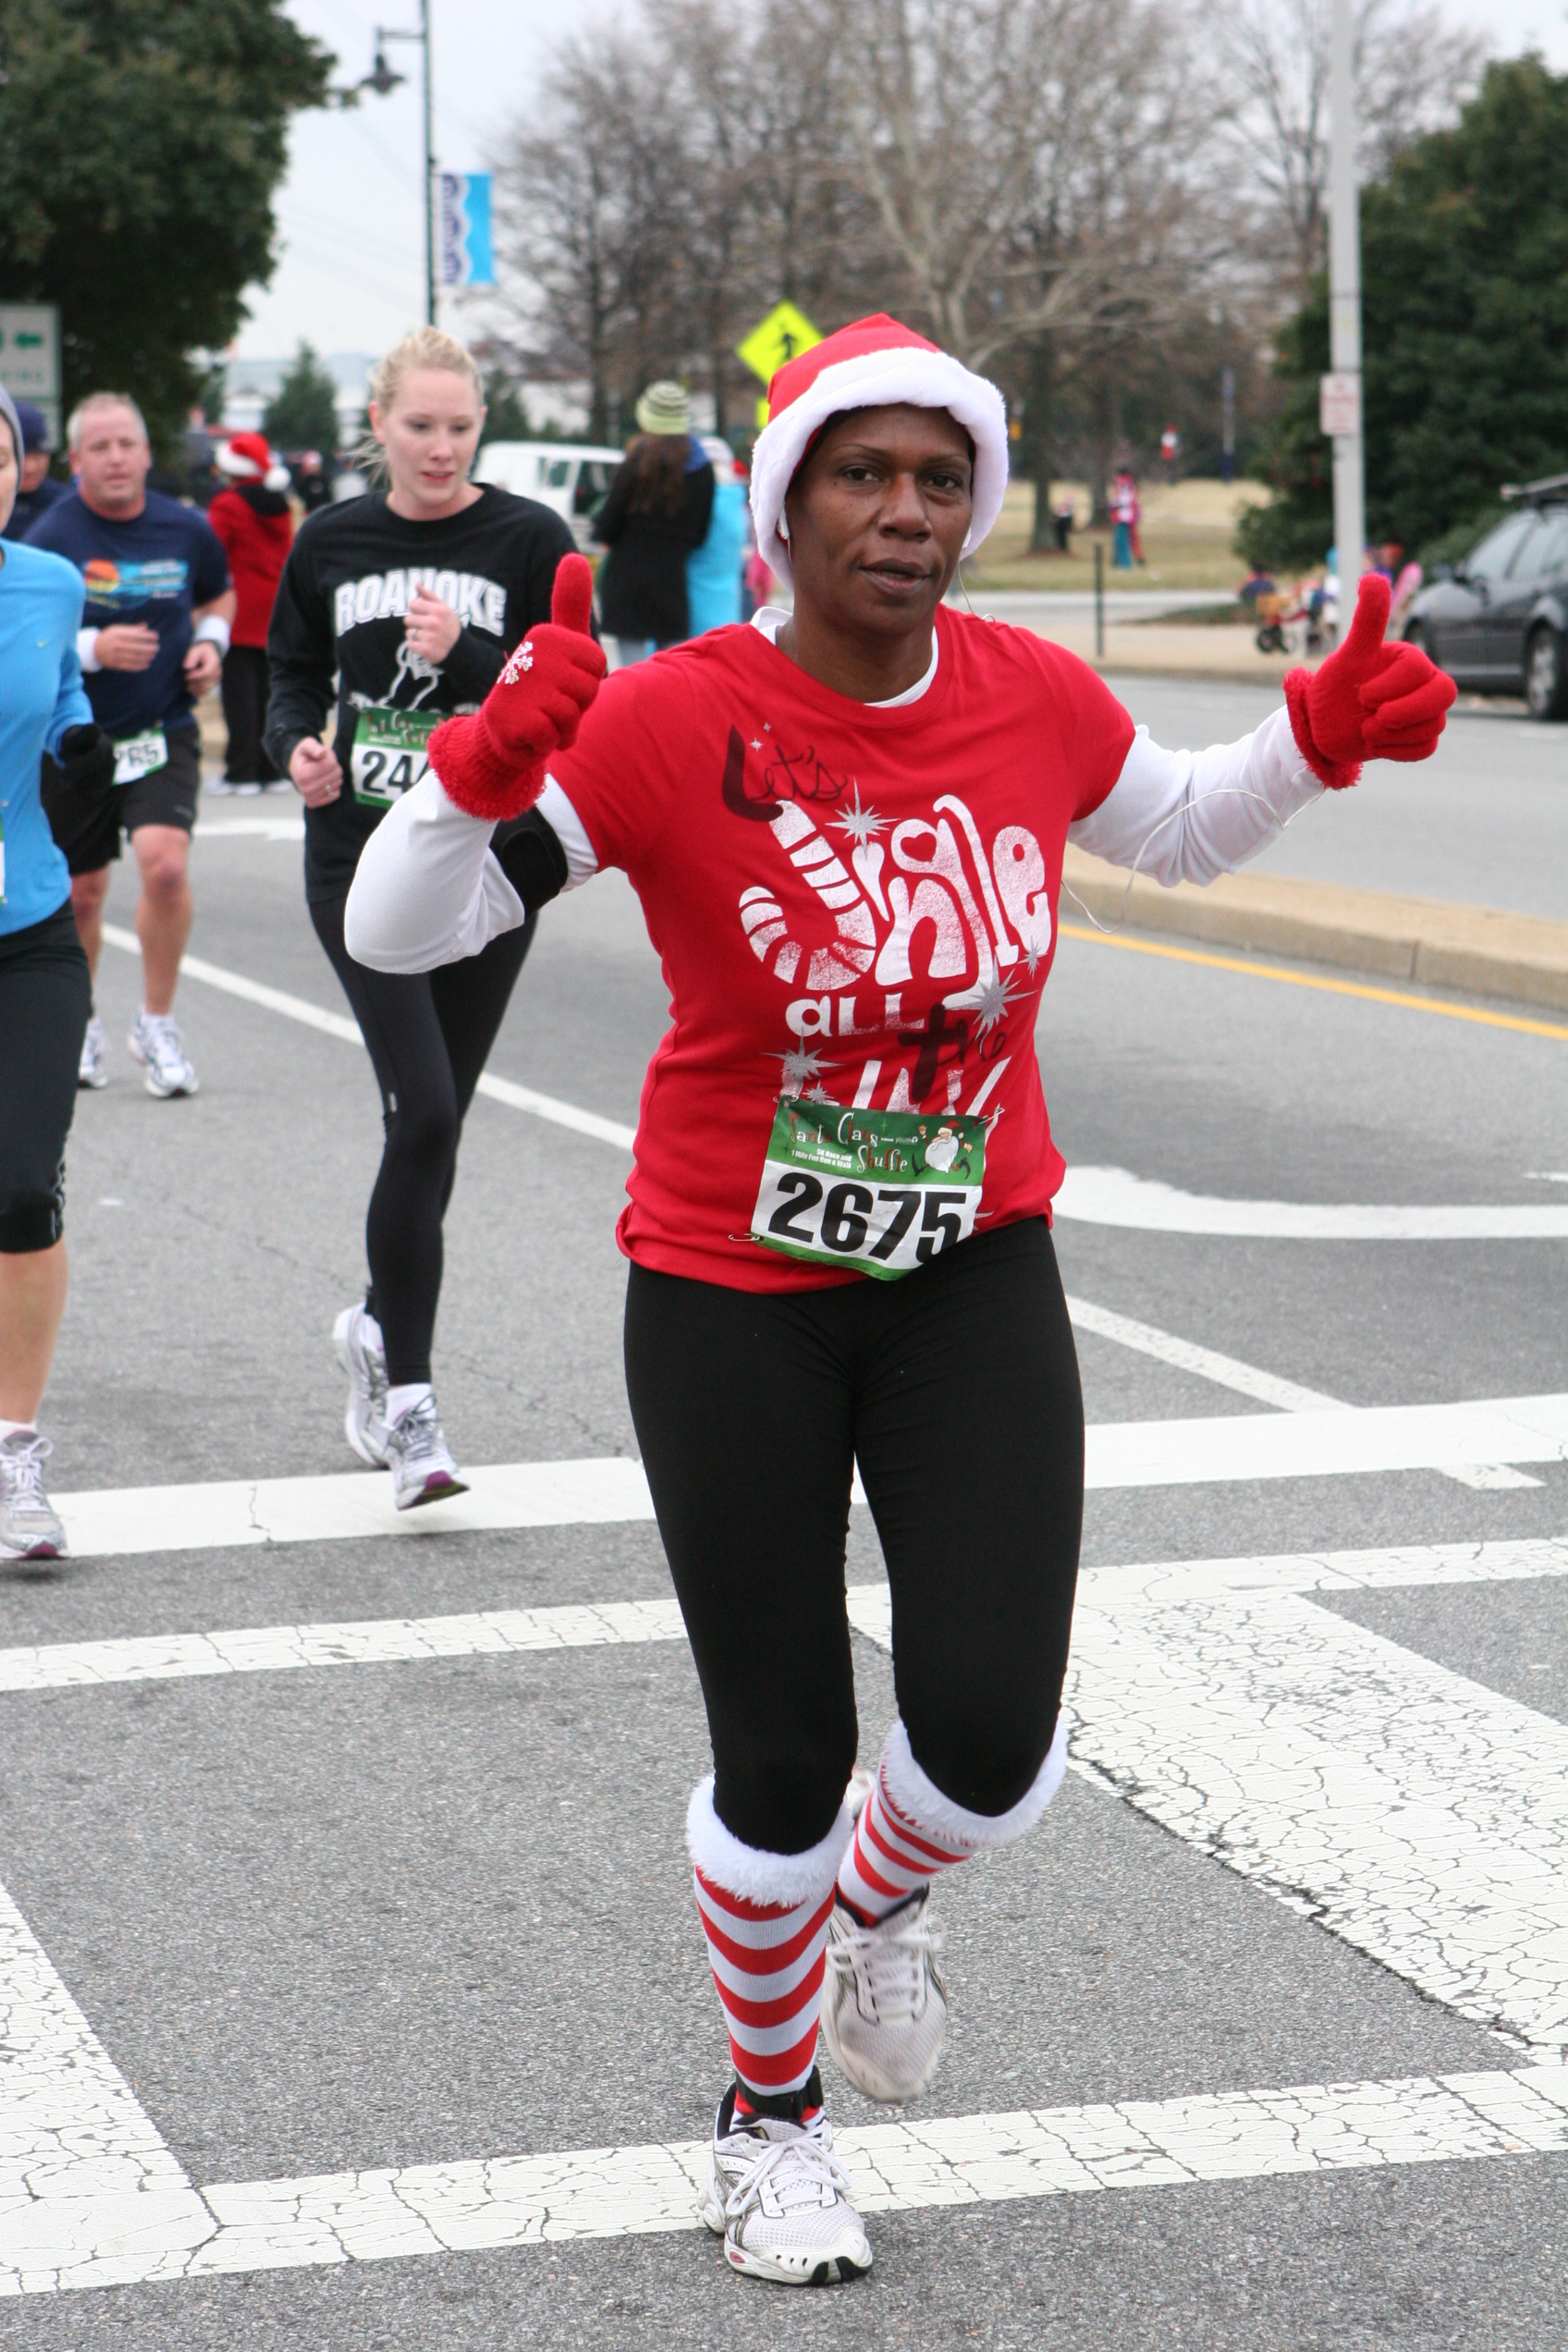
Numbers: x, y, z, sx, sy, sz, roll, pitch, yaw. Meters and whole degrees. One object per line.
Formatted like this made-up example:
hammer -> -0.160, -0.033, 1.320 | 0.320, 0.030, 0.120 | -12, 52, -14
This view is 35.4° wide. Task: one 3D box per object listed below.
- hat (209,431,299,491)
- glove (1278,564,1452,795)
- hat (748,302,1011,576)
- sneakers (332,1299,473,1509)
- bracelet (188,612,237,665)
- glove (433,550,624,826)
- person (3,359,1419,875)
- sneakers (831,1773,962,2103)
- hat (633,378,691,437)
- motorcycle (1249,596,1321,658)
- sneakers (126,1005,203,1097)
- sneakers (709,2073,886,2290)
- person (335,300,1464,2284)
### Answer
hat -> -3.548, -4.743, 16.336 | 0.519, 0.240, 0.709 | -9, 23, -23
glove -> 0.516, -0.433, 2.160 | 0.129, 0.143, 0.156 | -26, 2, -40
hat -> 0.067, -0.645, 2.058 | 0.219, 0.169, 0.169 | 9, 11, 42
sneakers -> -0.745, 0.428, 4.678 | 0.173, 0.220, 0.498 | -31, 34, -6
bracelet -> -1.942, -1.811, 8.305 | 0.223, 0.173, 0.205 | 2, 14, 6
glove -> -0.178, -0.357, 1.821 | 0.137, 0.107, 0.187 | 11, 53, -8
person -> -0.344, -0.949, 4.330 | 1.798, 0.557, 1.378 | 3, 4, -1
sneakers -> 0.093, 0.757, 2.375 | 0.133, 0.339, 0.146 | -4, -5, -5
hat -> -0.739, -4.777, 15.286 | 0.379, 0.295, 0.475 | 1, 37, -10
motorcycle -> 8.026, -8.690, 39.211 | 0.717, 0.798, 1.388 | -3, 4, 15
sneakers -> -2.229, -0.447, 9.004 | 0.174, 0.193, 0.445 | -8, 42, -41
sneakers -> -0.001, 0.863, 2.104 | 0.111, 0.115, 0.272 | 4, -8, -11
person -> 0.079, 0.134, 2.067 | 1.072, 1.571, 0.650 | -5, 12, -26
